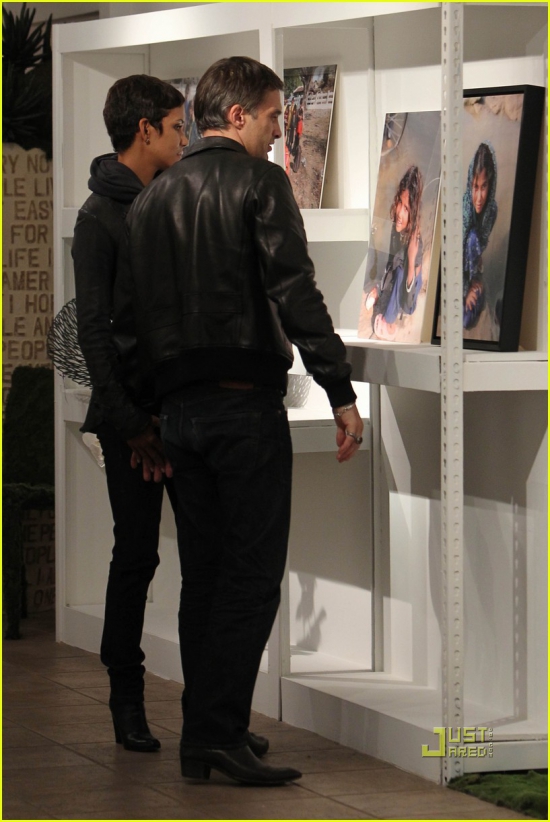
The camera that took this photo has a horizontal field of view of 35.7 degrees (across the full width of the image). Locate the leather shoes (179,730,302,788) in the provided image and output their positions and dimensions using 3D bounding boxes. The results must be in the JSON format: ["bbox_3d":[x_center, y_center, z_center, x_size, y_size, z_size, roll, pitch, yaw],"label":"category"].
[{"bbox_3d":[-0.082,0.721,1.805,0.304,0.151,0.108,2,-8,0],"label":"leather shoes"}]

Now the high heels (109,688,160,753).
[{"bbox_3d":[-0.341,0.748,2.039,0.064,0.148,0.200,2,-11,-27],"label":"high heels"}]

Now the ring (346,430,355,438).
[{"bbox_3d":[0.150,0.048,1.745,0.013,0.003,0.013,29,-29,18],"label":"ring"}]

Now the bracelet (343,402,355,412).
[{"bbox_3d":[0.144,-0.007,1.708,0.017,0.012,0.022,7,-20,-13],"label":"bracelet"}]

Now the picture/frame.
[{"bbox_3d":[0.519,-0.462,1.996,0.244,0.475,0.144,-6,-3,32],"label":"picture/frame"}]

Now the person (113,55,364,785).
[{"bbox_3d":[-0.049,0.106,1.701,0.441,1.339,0.282,-4,-3,6],"label":"person"}]
